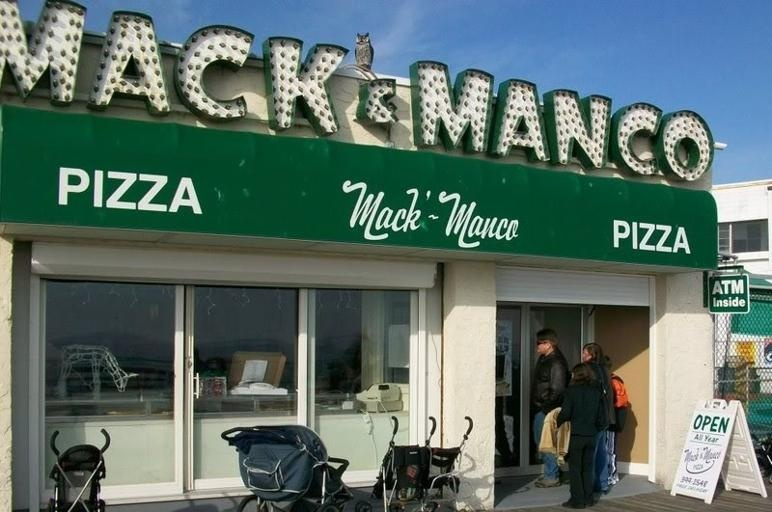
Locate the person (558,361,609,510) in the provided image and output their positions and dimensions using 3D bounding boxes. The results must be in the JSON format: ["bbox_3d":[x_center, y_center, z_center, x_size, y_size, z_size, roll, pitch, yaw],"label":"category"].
[{"bbox_3d":[3.082,2.811,13.818,0.758,2.228,0.449,-2,-8,7],"label":"person"}]

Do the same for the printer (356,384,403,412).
[{"bbox_3d":[-0.078,2.248,13.880,0.494,0.376,0.501,3,-7,-20],"label":"printer"}]

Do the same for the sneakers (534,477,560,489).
[{"bbox_3d":[2.686,3.766,14.721,0.401,0.202,0.156,3,-3,-2],"label":"sneakers"}]
